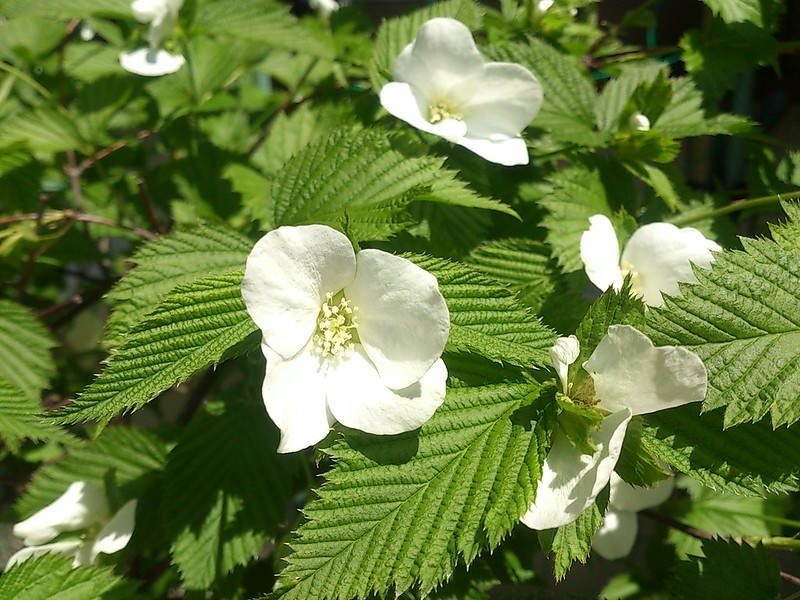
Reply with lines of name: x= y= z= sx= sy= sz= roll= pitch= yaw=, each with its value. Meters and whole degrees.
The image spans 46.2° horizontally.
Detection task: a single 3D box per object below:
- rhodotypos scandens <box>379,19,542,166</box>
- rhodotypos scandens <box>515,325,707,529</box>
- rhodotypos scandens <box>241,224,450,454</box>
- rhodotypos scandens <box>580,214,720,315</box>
rhodotypos scandens: x=0.150 y=-0.464 z=2.093 sx=0.350 sy=0.116 sz=0.252 roll=20 pitch=80 yaw=2
rhodotypos scandens: x=0.383 y=0.252 z=1.906 sx=0.390 sy=0.143 sz=0.402 roll=-16 pitch=78 yaw=7
rhodotypos scandens: x=-0.055 y=0.019 z=2.010 sx=0.482 sy=0.370 sz=0.490 roll=6 pitch=106 yaw=31
rhodotypos scandens: x=0.528 y=-0.073 z=2.187 sx=0.266 sy=0.221 sz=0.309 roll=-5 pitch=29 yaw=-14
